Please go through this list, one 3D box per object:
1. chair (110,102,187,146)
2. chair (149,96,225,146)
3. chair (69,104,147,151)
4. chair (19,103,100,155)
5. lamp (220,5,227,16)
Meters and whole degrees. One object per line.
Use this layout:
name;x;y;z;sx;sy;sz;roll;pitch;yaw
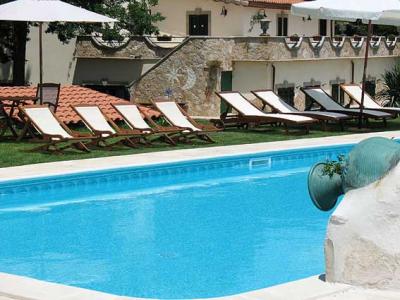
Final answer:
chair;-1.788;-0.797;12.693;2.106;1.284;1.185;4;6;33
chair;-0.570;-0.893;13.069;2.168;1.402;1.151;7;9;33
chair;-2.577;-0.664;11.977;2.080;1.287;1.147;5;7;35
chair;-3.815;-0.535;11.144;1.758;1.206;1.136;7;12;35
lamp;1.462;-8.433;25.924;0.386;0.604;0.334;0;10;1
